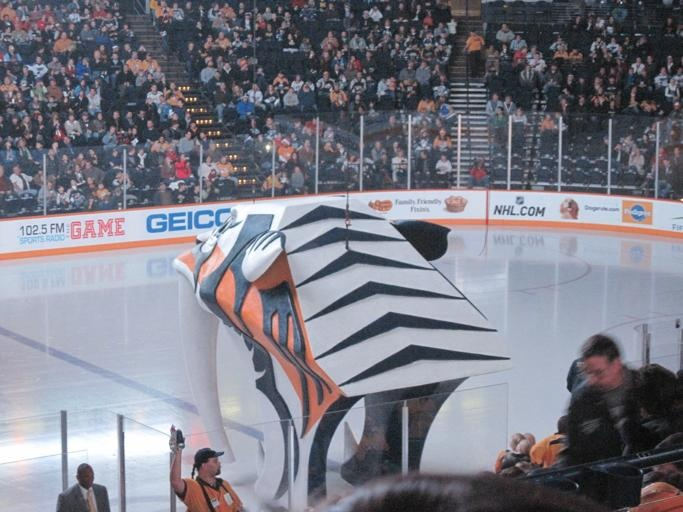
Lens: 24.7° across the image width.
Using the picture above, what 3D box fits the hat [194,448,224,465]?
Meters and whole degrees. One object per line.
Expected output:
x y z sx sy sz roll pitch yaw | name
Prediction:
-2.365 3.533 27.143 0.412 0.144 0.256 -5 8 -4 | hat
